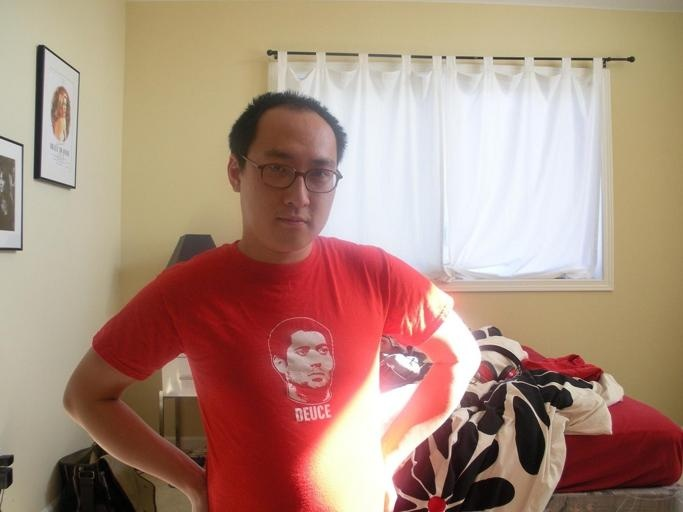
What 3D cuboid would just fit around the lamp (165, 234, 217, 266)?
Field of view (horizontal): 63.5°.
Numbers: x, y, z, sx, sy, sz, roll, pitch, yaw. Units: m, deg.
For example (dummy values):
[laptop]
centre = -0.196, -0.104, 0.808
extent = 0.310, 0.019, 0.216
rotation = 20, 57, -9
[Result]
[lamp]
centre = -1.003, -0.057, 3.711
extent = 0.278, 0.232, 0.336
rotation = -1, 1, 3
